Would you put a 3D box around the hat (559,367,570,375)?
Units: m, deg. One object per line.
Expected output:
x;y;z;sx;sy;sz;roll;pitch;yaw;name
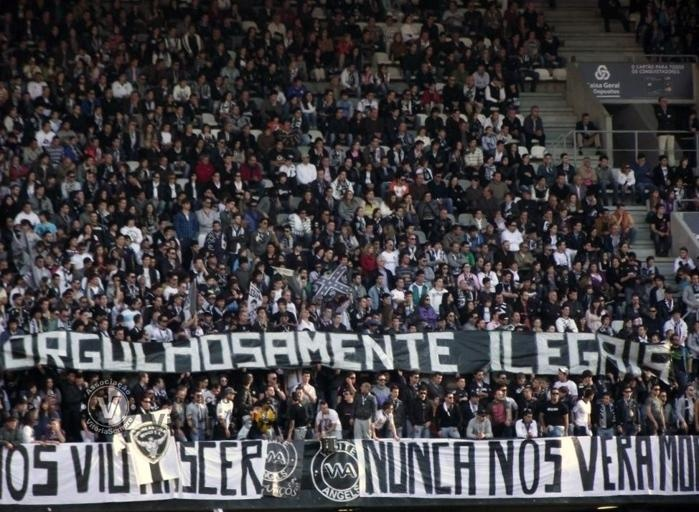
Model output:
5.219;2.764;55.470;0.235;0.069;0.149;14;20;-48;hat

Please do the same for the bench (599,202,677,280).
7.949;-0.423;60.823;2.602;1.772;0.614;5;-20;-4;bench
